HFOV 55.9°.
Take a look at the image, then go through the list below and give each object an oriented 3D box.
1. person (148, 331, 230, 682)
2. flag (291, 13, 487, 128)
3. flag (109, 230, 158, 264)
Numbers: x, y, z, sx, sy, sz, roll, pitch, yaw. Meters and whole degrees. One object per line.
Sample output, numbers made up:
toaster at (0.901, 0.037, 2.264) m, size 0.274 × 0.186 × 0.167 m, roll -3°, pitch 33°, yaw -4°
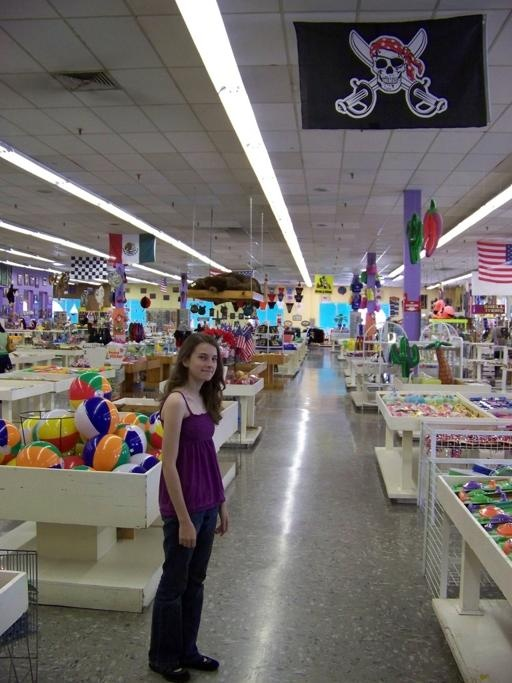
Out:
person at (-0.237, 0.615, 1.761) m, size 0.267 × 0.986 × 0.437 m, roll 3°, pitch -2°, yaw -5°
flag at (0.847, -1.657, 2.986) m, size 1.031 × 0.684 × 0.080 m, roll 0°, pitch -2°, yaw 5°
flag at (-3.290, -2.532, 12.798) m, size 1.108 × 0.865 × 0.044 m, roll 0°, pitch 3°, yaw 0°
